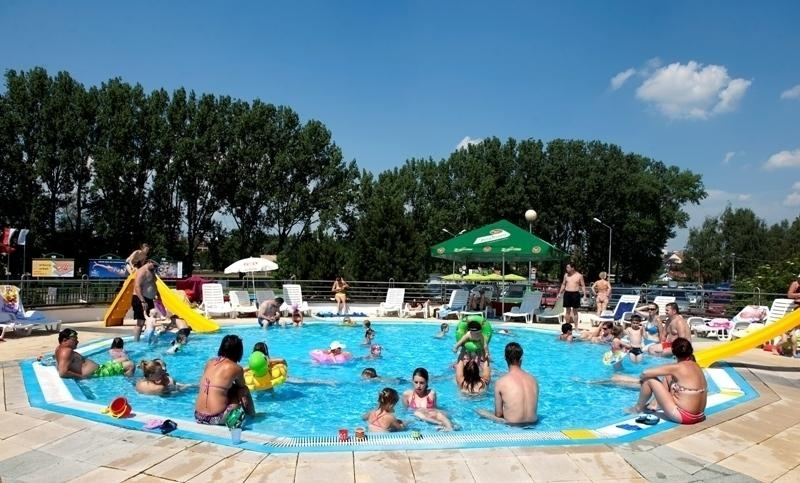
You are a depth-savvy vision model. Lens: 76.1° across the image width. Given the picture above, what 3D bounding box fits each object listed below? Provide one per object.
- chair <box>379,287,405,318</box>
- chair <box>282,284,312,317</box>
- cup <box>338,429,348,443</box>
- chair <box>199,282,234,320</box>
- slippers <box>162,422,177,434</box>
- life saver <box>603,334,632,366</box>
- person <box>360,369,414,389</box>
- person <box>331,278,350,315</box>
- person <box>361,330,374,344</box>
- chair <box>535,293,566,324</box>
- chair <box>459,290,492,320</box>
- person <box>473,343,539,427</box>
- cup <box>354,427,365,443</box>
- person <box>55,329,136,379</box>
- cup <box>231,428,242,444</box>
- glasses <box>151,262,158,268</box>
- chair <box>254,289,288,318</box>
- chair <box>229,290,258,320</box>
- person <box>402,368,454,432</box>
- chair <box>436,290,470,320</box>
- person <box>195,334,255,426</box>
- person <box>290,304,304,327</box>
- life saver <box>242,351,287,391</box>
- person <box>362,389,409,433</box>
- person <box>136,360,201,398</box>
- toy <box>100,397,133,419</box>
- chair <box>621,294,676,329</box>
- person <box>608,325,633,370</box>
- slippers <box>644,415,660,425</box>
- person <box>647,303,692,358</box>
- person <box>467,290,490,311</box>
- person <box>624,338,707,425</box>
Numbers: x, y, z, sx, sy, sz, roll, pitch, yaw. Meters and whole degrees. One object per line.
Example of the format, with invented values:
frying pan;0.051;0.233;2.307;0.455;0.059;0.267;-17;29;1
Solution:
chair;-0.392;2.774;23.177;0.898;0.970;1.359;-1;3;17
chair;-4.612;2.387;22.582;1.020;1.151;1.832;6;-9;-28
cup;-1.117;3.836;10.137;0.181;0.138;0.187;0;-6;0
chair;-7.834;2.520;21.867;1.255;1.435;1.265;3;-4;-30
slippers;-4.595;3.687;10.204;0.280;0.212;0.202;4;-5;-42
life saver;6.371;3.227;15.255;1.096;0.384;0.762;-23;-1;-37
person;-0.412;3.795;14.153;0.960;0.262;0.536;3;-2;10
person;-2.686;2.443;23.305;0.668;1.697;1.442;1;-4;-7
person;-1.040;3.208;17.048;0.303;0.527;0.797;1;-4;-8
chair;6.332;2.931;21.541;0.821;0.965;1.439;-4;-9;35
chair;3.348;2.679;22.924;0.991;1.424;1.420;-1;-7;20
person;2.512;3.169;11.469;1.096;1.797;0.505;0;-3;9
cup;-0.767;3.804;10.117;0.220;0.213;0.235;1;-4;0
person;-8.082;3.031;13.565;1.167;1.309;2.258;-4;-10;33
cup;-3.185;3.769;9.962;0.195;0.274;0.254;2;-4;-18
glasses;-7.871;0.767;16.448;0.162;0.119;0.141;10;-11;-43
chair;-5.213;2.616;20.467;0.869;1.057;0.926;26;9;38
chair;-6.907;2.707;22.302;1.033;0.948;1.446;2;-4;-31
person;0.630;3.574;11.795;1.344;1.231;0.499;-2;-4;32
chair;2.367;2.700;22.242;0.958;1.184;1.760;-2;1;30
person;-3.739;2.918;10.924;1.128;1.809;0.678;2;-4;-21
person;-4.144;3.018;20.849;0.478;0.804;0.839;1;-4;-10
life saver;-3.397;3.173;12.927;1.002;0.730;1.004;-1;9;5
person;-0.320;3.766;11.283;0.908;1.169;0.743;7;11;13
person;-6.152;3.500;13.328;1.049;0.817;1.827;0;-8;5
toy;-5.926;3.465;10.718;0.613;0.393;0.273;0;-4;9
chair;9.649;2.712;19.937;2.282;0.912;1.175;4;-5;-37
person;6.999;3.383;16.130;0.639;1.850;0.624;-4;27;30
slippers;5.342;3.747;10.792;0.404;0.150;0.187;4;-5;-41
person;8.023;2.573;15.224;1.096;1.482;1.152;-2;2;14
person;3.488;2.690;22.785;0.995;1.076;0.904;0;-12;24
person;5.900;2.969;11.059;1.236;1.718;0.615;-1;-4;27
